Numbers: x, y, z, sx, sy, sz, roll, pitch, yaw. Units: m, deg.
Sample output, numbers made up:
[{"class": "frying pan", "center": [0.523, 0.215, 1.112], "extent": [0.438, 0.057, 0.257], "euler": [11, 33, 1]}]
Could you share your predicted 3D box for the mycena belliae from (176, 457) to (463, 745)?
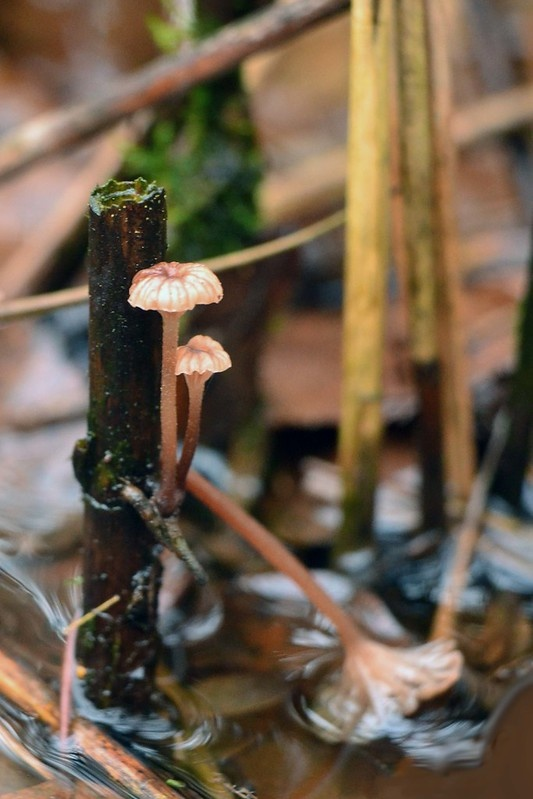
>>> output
[{"class": "mycena belliae", "center": [0.035, 0.211, 1.264], "extent": [0.175, 0.484, 0.124], "euler": [-37, -31, -12]}]
